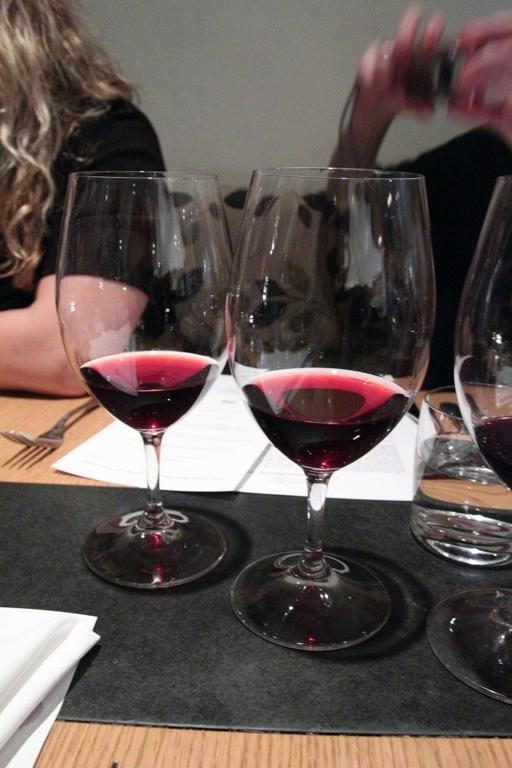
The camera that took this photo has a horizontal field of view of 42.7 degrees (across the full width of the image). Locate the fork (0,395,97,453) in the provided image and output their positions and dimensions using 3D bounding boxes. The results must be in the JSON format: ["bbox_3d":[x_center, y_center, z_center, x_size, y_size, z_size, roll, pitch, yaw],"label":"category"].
[{"bbox_3d":[-0.173,0.030,0.590,0.022,0.022,0.156,7,11,12],"label":"fork"}]
